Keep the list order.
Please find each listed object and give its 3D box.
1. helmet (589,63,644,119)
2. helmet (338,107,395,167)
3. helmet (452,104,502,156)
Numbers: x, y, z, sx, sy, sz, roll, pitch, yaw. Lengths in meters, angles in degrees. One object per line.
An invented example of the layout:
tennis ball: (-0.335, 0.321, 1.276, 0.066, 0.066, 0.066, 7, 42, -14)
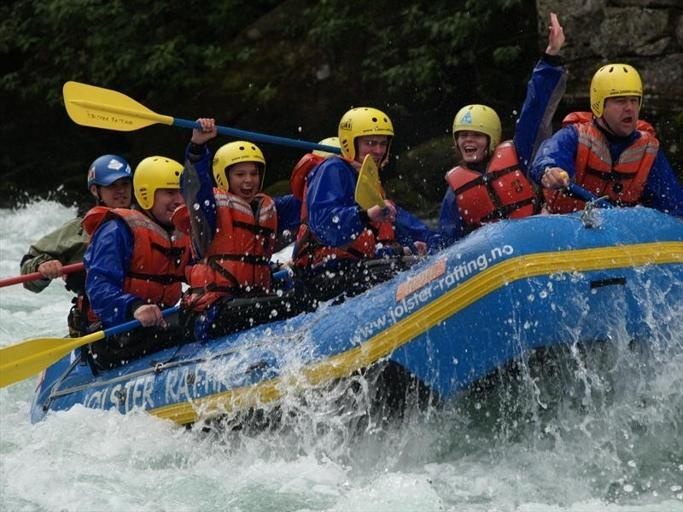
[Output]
helmet: (2.226, -1.376, 9.017, 0.349, 0.418, 0.451, -1, 17, -15)
helmet: (0.188, -1.035, 9.235, 0.472, 0.390, 0.361, 0, -2, 45)
helmet: (1.114, -1.094, 9.358, 0.328, 0.395, 0.433, 9, 25, 39)
